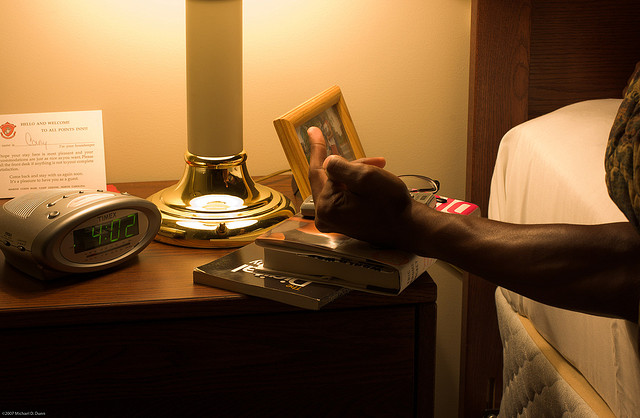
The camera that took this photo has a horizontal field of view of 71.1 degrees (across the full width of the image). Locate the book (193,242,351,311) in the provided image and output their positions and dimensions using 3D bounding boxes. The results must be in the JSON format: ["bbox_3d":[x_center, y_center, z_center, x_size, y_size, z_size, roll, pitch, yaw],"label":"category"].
[{"bbox_3d":[-0.098,0.112,0.705,0.161,0.019,0.143,7,12,23],"label":"book"}]

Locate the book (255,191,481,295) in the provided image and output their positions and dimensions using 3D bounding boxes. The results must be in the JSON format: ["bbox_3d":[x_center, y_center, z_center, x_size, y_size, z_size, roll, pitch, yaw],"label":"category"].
[{"bbox_3d":[0.089,0.041,0.796,0.330,0.059,0.322,-23,30,-33],"label":"book"}]

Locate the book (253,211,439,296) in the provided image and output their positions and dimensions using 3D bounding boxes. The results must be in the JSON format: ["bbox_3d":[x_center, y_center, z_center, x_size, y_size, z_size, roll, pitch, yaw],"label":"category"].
[{"bbox_3d":[0.043,0.060,0.792,0.330,0.059,0.313,-4,19,-24],"label":"book"}]
